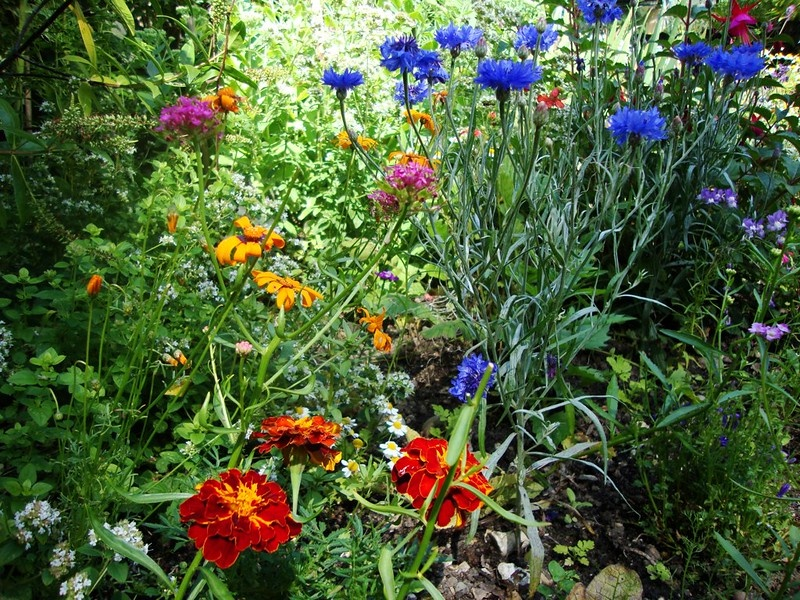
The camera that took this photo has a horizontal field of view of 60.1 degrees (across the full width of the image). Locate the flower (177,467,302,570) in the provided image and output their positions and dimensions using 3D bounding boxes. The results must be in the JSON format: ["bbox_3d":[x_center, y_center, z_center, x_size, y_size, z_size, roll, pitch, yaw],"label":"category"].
[{"bbox_3d":[-0.450,0.602,1.916,0.278,0.122,0.214,-17,47,-20],"label":"flower"}]

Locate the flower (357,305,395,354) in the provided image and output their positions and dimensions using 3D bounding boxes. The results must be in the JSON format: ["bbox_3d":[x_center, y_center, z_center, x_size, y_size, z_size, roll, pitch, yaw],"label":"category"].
[{"bbox_3d":[-0.093,0.094,2.518,0.053,0.170,0.178,-23,71,8],"label":"flower"}]

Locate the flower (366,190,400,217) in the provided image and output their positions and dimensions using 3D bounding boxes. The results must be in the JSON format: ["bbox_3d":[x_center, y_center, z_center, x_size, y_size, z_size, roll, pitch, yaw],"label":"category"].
[{"bbox_3d":[-0.044,-0.307,2.128,0.081,0.094,0.058,18,62,-11],"label":"flower"}]

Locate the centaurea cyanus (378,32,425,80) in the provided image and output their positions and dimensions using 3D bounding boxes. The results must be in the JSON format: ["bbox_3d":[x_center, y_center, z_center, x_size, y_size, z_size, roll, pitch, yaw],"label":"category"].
[{"bbox_3d":[0.004,-0.839,2.426,0.136,0.154,0.136,1,70,2],"label":"centaurea cyanus"}]

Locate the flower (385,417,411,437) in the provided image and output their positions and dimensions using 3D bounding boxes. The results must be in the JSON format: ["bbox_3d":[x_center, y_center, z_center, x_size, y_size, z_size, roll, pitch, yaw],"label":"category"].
[{"bbox_3d":[-0.017,0.463,2.506,0.074,0.019,0.074,-2,29,-41],"label":"flower"}]

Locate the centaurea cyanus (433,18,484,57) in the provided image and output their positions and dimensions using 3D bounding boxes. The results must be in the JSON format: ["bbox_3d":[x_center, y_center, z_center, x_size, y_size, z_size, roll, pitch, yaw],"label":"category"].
[{"bbox_3d":[0.196,-0.891,2.426,0.130,0.103,0.138,7,16,38],"label":"centaurea cyanus"}]

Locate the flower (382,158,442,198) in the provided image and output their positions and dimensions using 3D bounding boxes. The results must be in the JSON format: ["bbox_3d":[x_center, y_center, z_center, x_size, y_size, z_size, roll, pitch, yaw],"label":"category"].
[{"bbox_3d":[0.038,-0.329,1.888,0.109,0.072,0.118,9,11,-10],"label":"flower"}]

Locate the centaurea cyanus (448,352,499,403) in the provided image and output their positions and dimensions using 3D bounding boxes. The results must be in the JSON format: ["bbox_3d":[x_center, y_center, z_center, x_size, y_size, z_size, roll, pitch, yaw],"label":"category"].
[{"bbox_3d":[0.258,0.280,2.450,0.158,0.217,0.144,-4,10,-16],"label":"centaurea cyanus"}]

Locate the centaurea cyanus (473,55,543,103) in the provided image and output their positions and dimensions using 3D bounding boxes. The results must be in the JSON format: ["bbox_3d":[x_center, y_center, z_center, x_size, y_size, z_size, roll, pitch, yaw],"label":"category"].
[{"bbox_3d":[0.328,-0.701,2.159,0.210,0.122,0.163,-9,44,-12],"label":"centaurea cyanus"}]

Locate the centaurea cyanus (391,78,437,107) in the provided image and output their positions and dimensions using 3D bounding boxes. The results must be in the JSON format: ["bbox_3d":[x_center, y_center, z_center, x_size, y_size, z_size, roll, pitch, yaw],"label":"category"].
[{"bbox_3d":[0.042,-0.845,2.815,0.176,0.125,0.196,0,20,2],"label":"centaurea cyanus"}]

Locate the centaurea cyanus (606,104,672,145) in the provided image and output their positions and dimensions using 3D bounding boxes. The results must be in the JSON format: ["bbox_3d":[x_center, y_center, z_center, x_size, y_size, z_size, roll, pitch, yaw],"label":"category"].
[{"bbox_3d":[0.808,-0.578,2.351,0.168,0.173,0.142,4,10,39],"label":"centaurea cyanus"}]

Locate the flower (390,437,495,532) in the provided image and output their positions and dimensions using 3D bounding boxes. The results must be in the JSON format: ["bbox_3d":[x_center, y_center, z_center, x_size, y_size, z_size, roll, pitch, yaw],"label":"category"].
[{"bbox_3d":[0.136,0.492,2.053,0.269,0.184,0.278,30,29,18],"label":"flower"}]

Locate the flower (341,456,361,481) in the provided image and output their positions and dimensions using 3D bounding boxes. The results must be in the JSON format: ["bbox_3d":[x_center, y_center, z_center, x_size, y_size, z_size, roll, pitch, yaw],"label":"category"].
[{"bbox_3d":[-0.171,0.562,2.343,0.058,0.033,0.065,-11,46,2],"label":"flower"}]

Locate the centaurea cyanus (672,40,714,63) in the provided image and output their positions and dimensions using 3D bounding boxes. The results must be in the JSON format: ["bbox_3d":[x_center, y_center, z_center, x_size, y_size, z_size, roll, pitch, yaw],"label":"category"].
[{"bbox_3d":[1.191,-1.005,2.835,0.119,0.083,0.130,0,4,-4],"label":"centaurea cyanus"}]

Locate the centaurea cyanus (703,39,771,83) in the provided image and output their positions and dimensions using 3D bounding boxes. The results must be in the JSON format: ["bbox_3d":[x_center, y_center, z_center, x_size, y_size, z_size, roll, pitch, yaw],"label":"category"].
[{"bbox_3d":[1.276,-0.892,2.663,0.165,0.192,0.145,2,8,4],"label":"centaurea cyanus"}]
